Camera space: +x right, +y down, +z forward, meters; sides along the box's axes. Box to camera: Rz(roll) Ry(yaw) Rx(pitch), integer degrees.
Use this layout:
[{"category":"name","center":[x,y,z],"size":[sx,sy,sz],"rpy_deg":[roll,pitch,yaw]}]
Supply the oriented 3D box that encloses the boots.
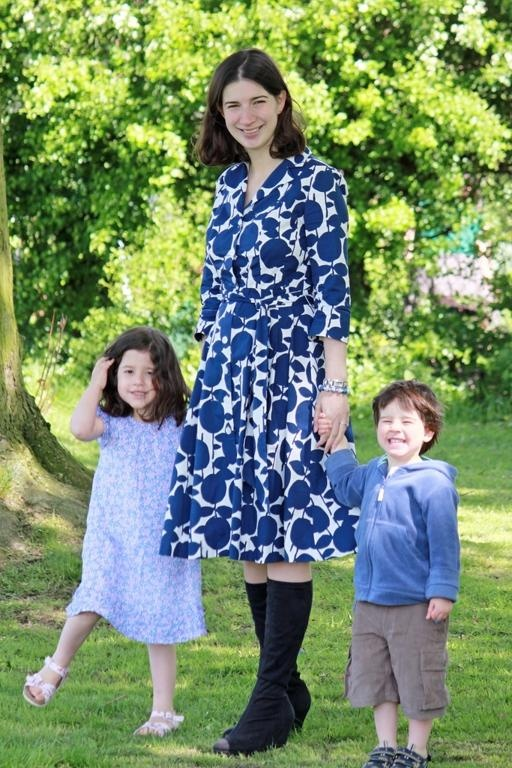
[{"category":"boots","center":[0.022,0.771,2.978],"size":[0.257,0.473,0.298],"rpy_deg":[1,5,2]}]

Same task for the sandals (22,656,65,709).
[{"category":"sandals","center":[-0.619,0.865,3.114],"size":[0.091,0.170,0.044],"rpy_deg":[30,-36,9]}]
